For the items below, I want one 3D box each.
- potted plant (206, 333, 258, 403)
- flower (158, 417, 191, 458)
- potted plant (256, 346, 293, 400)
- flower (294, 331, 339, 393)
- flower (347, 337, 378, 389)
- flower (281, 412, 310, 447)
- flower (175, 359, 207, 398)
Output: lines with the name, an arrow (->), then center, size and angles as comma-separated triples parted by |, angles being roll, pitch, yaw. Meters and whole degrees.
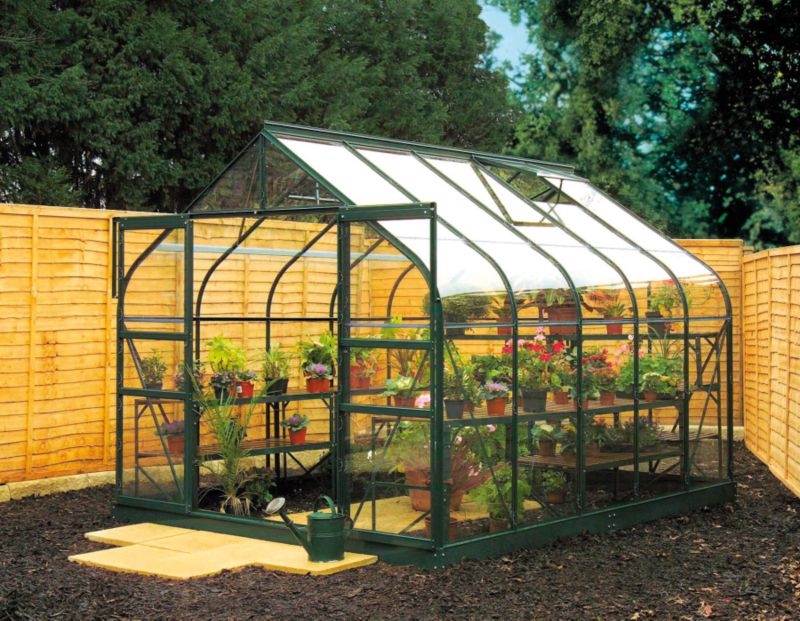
potted plant -> -1.662, 0.571, 9.531 | 0.642, 0.688, 0.578 | 2, -6, -16
flower -> -2.082, 1.158, 8.974 | 0.261, 0.335, 0.073 | 4, 6, 34
potted plant -> -1.245, 0.626, 9.806 | 0.484, 0.573, 0.391 | 0, 0, -15
flower -> -0.838, 0.520, 10.006 | 0.389, 0.611, 0.337 | 0, 5, -9
flower -> -0.346, 0.468, 8.098 | 0.412, 0.455, 0.378 | 1, -5, -5
flower -> -1.065, 1.212, 9.985 | 0.330, 0.283, 0.289 | 1, -8, -10
flower -> -1.877, 0.618, 9.031 | 0.320, 0.346, 0.337 | -3, 5, -37
